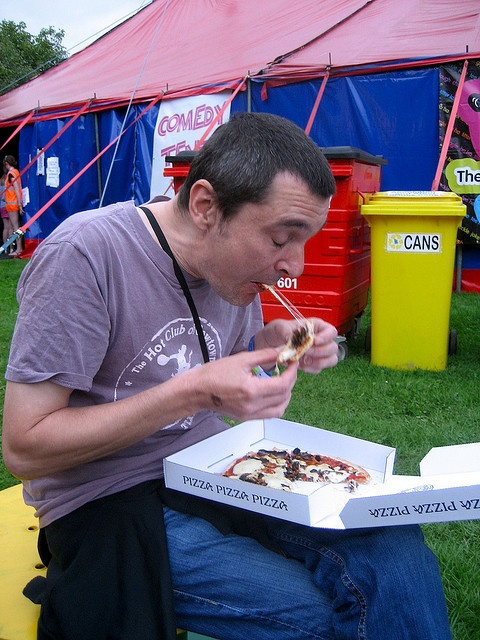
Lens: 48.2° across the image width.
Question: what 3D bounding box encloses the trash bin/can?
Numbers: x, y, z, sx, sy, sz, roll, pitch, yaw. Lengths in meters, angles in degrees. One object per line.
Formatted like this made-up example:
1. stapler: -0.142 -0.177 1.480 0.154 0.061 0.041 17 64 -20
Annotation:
1. trash bin/can: 1.287 -0.262 4.227 0.878 1.208 0.787 1 0 -9

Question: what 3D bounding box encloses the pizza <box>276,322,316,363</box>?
1. pizza: 0.156 0.067 1.486 0.065 0.041 0.153 0 43 42
